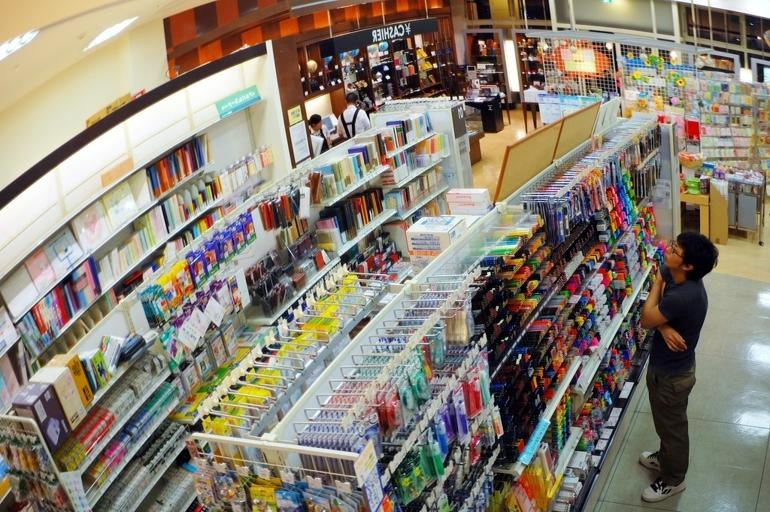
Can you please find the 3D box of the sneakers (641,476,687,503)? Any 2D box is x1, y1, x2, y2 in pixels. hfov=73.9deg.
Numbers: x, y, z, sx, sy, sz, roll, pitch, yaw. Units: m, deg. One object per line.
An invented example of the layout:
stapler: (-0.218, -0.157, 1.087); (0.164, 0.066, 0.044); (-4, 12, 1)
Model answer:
sneakers: (2.672, 2.301, 4.976); (0.464, 0.184, 0.179); (-13, 45, 12)

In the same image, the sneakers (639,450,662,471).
sneakers: (2.753, 2.106, 5.372); (0.113, 0.111, 0.293); (-8, 24, -9)
